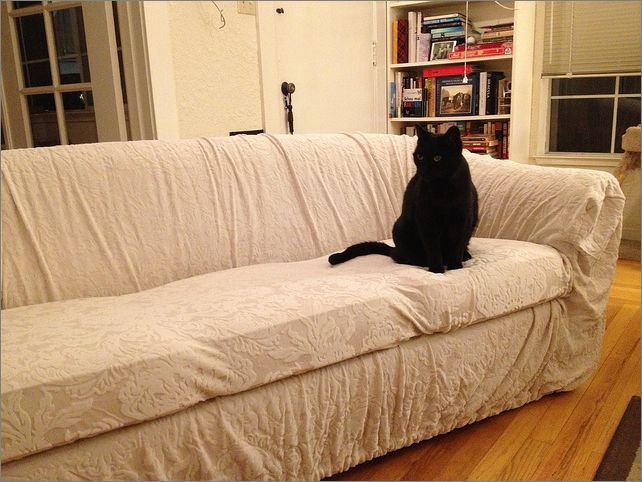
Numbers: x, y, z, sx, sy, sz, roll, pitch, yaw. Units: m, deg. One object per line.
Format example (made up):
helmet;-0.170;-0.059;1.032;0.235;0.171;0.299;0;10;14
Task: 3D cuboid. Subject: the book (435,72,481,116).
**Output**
book;1.096;-1.164;3.870;0.327;0.317;0.119;2;15;18

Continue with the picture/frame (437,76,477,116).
picture/frame;1.100;-1.163;3.867;0.320;0.326;0.045;2;10;37

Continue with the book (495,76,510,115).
book;1.427;-1.126;3.755;0.144;0.275;0.077;-5;25;-15

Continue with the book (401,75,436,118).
book;0.827;-1.203;4.046;0.344;0.372;0.198;2;4;17

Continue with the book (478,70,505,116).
book;1.383;-1.174;3.836;0.269;0.369;0.213;-2;14;3

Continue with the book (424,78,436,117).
book;0.904;-1.196;4.004;0.102;0.338;0.233;0;14;2

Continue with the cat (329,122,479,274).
cat;0.330;-0.160;1.958;0.578;0.543;0.353;4;17;44

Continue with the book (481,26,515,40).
book;1.344;-1.546;3.625;0.159;0.040;0.158;-18;26;-28

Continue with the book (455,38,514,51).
book;1.264;-1.466;3.626;0.186;0.041;0.176;6;12;38
